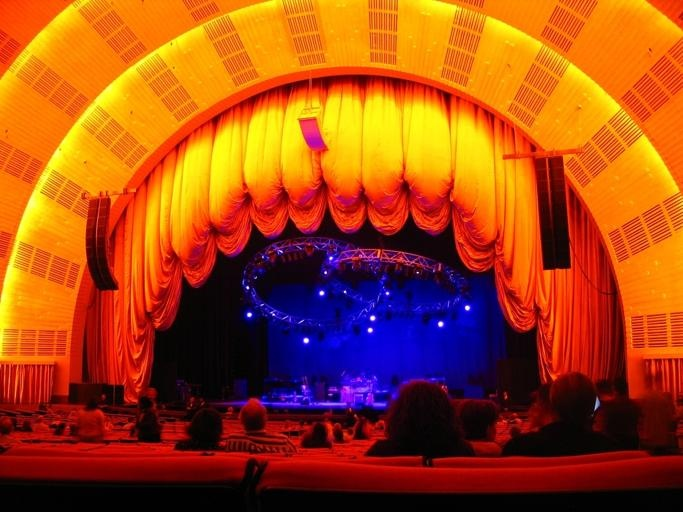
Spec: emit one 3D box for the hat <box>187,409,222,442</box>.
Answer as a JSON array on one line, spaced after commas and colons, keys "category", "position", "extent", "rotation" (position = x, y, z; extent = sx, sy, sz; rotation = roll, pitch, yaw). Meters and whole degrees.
[{"category": "hat", "position": [-1.089, 1.318, 4.555], "extent": [0.193, 0.261, 0.268], "rotation": [4, 1, -5]}]
